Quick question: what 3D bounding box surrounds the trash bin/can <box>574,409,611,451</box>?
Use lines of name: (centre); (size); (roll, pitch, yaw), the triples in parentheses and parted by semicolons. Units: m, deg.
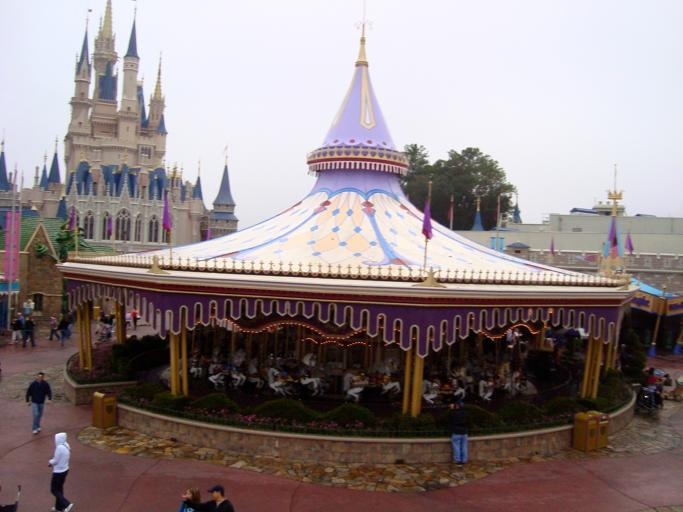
trash bin/can: (8.143, 5.782, 29.820); (1.056, 1.206, 0.613); (0, 3, -31)

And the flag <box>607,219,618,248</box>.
flag: (9.970, -0.764, 33.483); (0.408, 1.350, 1.884); (1, 2, 16)

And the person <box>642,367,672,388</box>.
person: (12.178, 4.784, 35.358); (0.954, 0.429, 1.511); (1, 3, 15)

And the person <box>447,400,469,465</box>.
person: (3.636, 5.681, 28.416); (0.564, 1.707, 0.250); (1, 2, 7)

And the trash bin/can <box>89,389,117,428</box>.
trash bin/can: (-7.854, 5.135, 30.060); (0.792, 1.133, 0.436); (0, 2, -15)
